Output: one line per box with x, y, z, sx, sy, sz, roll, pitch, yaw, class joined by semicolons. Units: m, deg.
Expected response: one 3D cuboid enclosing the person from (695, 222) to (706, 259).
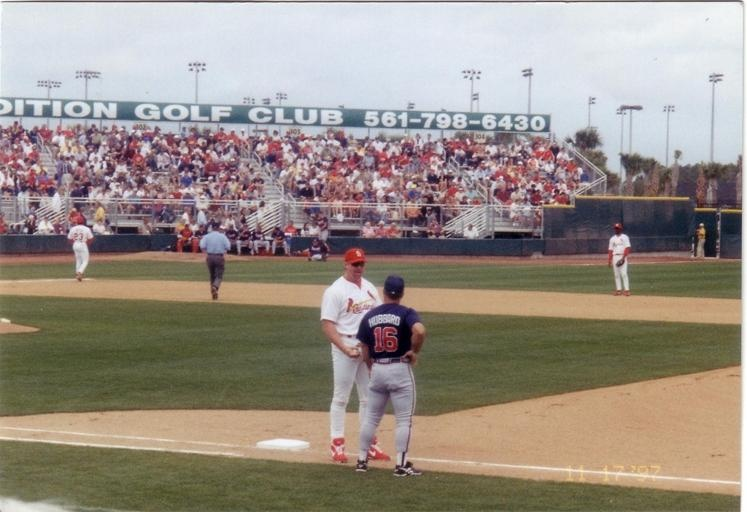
14.815;-0.731;85.631;0.409;1.563;2.056;1;3;11;person

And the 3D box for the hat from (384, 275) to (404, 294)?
0.629;0.743;54.452;0.404;0.343;0.580;8;31;-2;hat

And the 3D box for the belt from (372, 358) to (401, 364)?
0.411;2.993;54.333;0.716;0.159;0.041;1;3;7;belt

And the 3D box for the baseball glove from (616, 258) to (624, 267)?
8.816;0.207;67.511;0.271;0.248;0.217;1;3;14;baseball glove
